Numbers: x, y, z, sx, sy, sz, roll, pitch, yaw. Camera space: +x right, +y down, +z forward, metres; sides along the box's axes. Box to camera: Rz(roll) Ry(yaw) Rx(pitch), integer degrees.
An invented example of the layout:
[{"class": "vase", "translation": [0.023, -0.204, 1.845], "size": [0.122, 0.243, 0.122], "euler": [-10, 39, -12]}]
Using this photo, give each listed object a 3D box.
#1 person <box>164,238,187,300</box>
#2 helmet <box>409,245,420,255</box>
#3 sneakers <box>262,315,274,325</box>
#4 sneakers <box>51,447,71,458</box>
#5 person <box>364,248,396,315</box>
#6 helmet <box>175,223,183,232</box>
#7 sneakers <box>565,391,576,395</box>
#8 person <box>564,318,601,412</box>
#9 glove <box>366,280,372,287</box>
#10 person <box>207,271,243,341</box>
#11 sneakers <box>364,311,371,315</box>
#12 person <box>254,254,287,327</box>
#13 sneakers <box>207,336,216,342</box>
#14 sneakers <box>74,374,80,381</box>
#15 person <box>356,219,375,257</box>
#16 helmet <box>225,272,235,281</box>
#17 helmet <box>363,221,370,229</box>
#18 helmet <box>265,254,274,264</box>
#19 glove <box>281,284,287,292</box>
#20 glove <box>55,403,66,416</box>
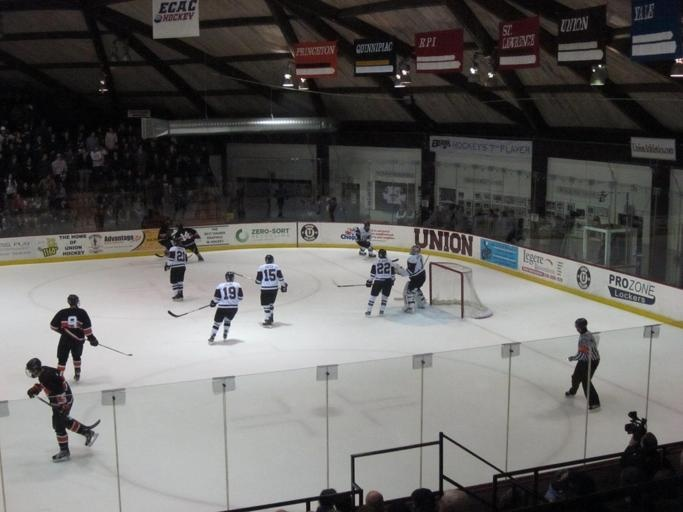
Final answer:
[{"class": "person", "translation": [-4.371, 0.391, 18.781], "size": [0.494, 1.364, 0.981], "euler": [-4, 12, -16]}, {"class": "helmet", "translation": [1.805, -0.147, 17.383], "size": [0.202, 0.267, 0.452], "euler": [0, 12, 2]}, {"class": "sneakers", "translation": [-1.754, 1.505, 16.523], "size": [0.308, 0.280, 0.132], "euler": [6, 8, 20]}, {"class": "sneakers", "translation": [-3.719, 2.615, 9.381], "size": [0.221, 0.145, 0.105], "euler": [3, -2, -15]}, {"class": "person", "translation": [0.955, 0.597, 17.419], "size": [0.729, 1.642, 1.447], "euler": [0, 12, 4]}, {"class": "helmet", "translation": [-5.061, -0.878, 21.722], "size": [0.283, 0.292, 0.232], "euler": [-4, 4, 1]}, {"class": "sneakers", "translation": [3.490, 2.087, 10.766], "size": [0.117, 0.085, 0.067], "euler": [-4, 7, 9]}, {"class": "person", "translation": [3.768, 1.787, 10.999], "size": [0.498, 0.985, 0.838], "euler": [4, 13, 20]}, {"class": "glove", "translation": [0.658, 0.681, 17.344], "size": [0.230, 0.104, 0.308], "euler": [0, 4, 0]}, {"class": "person", "translation": [-2.602, 1.049, 15.667], "size": [0.777, 1.519, 1.180], "euler": [-3, 12, -10]}, {"class": "sneakers", "translation": [0.623, 1.375, 17.022], "size": [0.116, 0.118, 0.080], "euler": [1, 2, 8]}, {"class": "person", "translation": [-1.672, 0.661, 16.908], "size": [0.650, 1.695, 1.596], "euler": [-2, 12, -5]}, {"class": "sneakers", "translation": [-2.807, 1.809, 15.286], "size": [0.101, 0.153, 0.049], "euler": [1, -16, 17]}, {"class": "sneakers", "translation": [-5.025, 2.319, 13.436], "size": [0.086, 0.115, 0.115], "euler": [0, -4, -3]}, {"class": "person", "translation": [0.767, -0.554, 23.476], "size": [0.632, 1.131, 0.595], "euler": [3, 15, 21]}, {"class": "helmet", "translation": [-2.540, 0.460, 16.019], "size": [0.198, 0.277, 0.267], "euler": [3, -15, -11]}, {"class": "helmet", "translation": [0.815, -1.025, 23.208], "size": [0.154, 0.207, 0.201], "euler": [0, -13, 0]}, {"class": "helmet", "translation": [-1.769, 0.080, 17.183], "size": [0.189, 0.253, 0.246], "euler": [2, 7, 6]}, {"class": "glove", "translation": [-1.331, 0.740, 16.270], "size": [0.143, 0.164, 0.169], "euler": [1, 6, -2]}, {"class": "glove", "translation": [-3.743, 2.030, 9.359], "size": [0.157, 0.128, 0.024], "euler": [0, 11, 1]}]
